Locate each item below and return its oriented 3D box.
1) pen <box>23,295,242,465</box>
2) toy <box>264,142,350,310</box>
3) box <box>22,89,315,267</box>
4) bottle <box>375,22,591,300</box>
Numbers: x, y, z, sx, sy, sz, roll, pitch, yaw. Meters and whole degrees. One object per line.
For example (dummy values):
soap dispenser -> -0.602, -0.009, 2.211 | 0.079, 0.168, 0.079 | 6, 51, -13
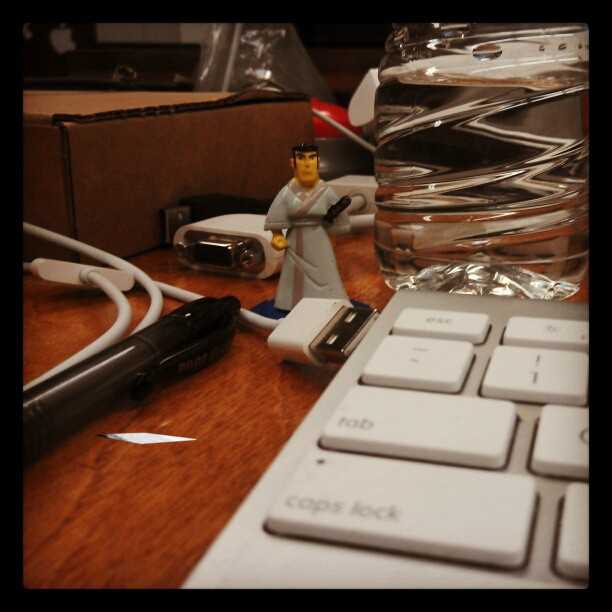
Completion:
pen -> -0.065, 0.026, 0.243 | 0.026, 0.025, 0.124 | 8, 20, 25
toy -> 0.001, -0.047, 0.318 | 0.054, 0.095, 0.065 | -5, 23, -2
box -> -0.109, -0.094, 0.396 | 0.121, 0.065, 0.172 | 13, 24, 31
bottle -> 0.128, -0.115, 0.390 | 0.159, 0.180, 0.167 | 1, 23, 11
